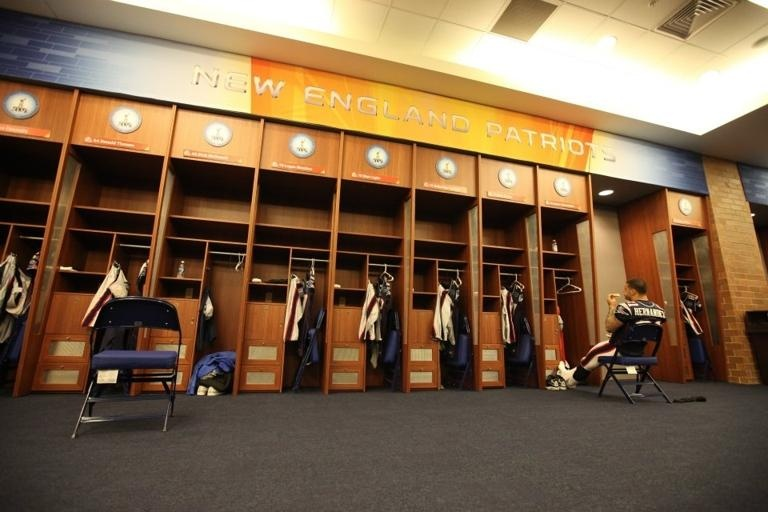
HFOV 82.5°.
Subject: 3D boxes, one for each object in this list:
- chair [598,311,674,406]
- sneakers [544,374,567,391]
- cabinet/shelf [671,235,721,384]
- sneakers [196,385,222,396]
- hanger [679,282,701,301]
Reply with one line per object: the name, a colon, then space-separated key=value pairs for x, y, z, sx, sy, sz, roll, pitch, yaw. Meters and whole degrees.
chair: x=3.796 y=1.541 z=6.608 sx=0.833 sy=1.391 sz=2.168 roll=2 pitch=3 yaw=33
sneakers: x=2.703 y=2.009 z=6.939 sx=0.197 sy=0.121 sz=0.275 roll=0 pitch=2 yaw=8
cabinet/shelf: x=5.928 y=0.894 z=8.383 sx=0.569 sy=2.788 sz=1.031 roll=1 pitch=2 yaw=0
sneakers: x=-2.365 y=1.851 z=5.995 sx=0.344 sy=0.144 sz=0.124 roll=2 pitch=-9 yaw=-10
hanger: x=5.862 y=0.716 z=8.424 sx=0.291 sy=0.273 sz=0.086 roll=-10 pitch=-24 yaw=-2
